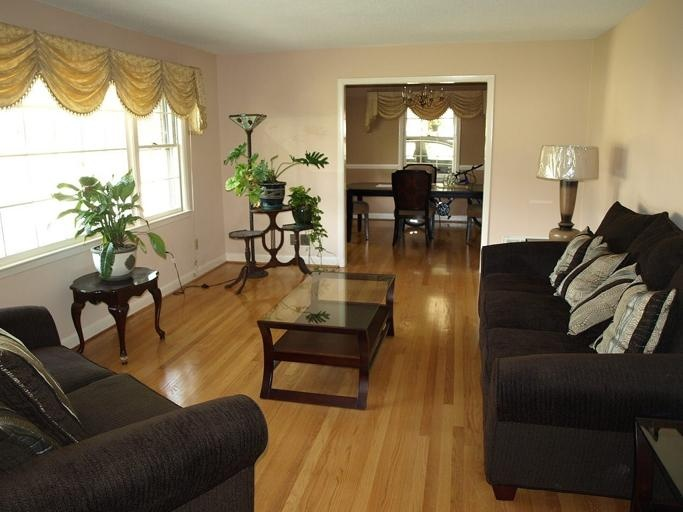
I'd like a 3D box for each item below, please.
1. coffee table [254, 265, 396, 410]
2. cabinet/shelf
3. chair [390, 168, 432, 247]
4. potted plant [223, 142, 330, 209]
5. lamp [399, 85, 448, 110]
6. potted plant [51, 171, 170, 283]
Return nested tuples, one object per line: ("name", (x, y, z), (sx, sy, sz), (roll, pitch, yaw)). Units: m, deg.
("coffee table", (-0.127, 0.481, 3.568), (0.682, 0.523, 1.200), (4, 17, 13))
("cabinet/shelf", (-0.823, -0.076, 5.880), (0.843, 0.826, 0.435), (-9, 14, -35))
("chair", (1.082, -0.777, 7.861), (0.618, 1.101, 1.043), (1, 16, 10))
("potted plant", (-0.796, -0.889, 5.824), (0.880, 0.547, 0.929), (1, 13, 6))
("lamp", (1.382, -2.729, 8.861), (0.721, 0.413, 0.735), (21, 31, 40))
("potted plant", (-1.772, -0.266, 4.113), (0.589, 0.551, 0.937), (-12, -5, 24))
